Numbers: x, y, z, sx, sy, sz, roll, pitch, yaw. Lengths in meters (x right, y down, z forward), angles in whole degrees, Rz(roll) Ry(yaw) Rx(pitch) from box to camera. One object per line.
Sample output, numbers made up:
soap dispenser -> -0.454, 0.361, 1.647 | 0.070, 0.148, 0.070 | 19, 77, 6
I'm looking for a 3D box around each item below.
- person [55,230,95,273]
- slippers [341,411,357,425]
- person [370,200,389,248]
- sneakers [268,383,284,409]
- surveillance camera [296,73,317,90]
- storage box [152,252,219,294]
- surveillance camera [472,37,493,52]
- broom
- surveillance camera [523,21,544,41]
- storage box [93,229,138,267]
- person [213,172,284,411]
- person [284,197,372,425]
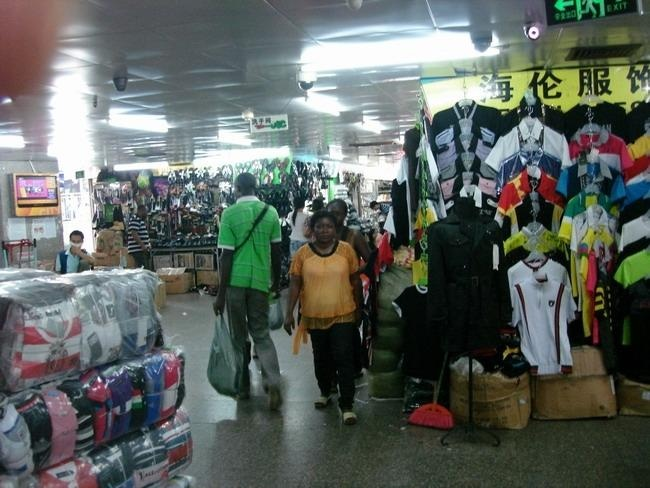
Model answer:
person -> -3.519, 0.113, 7.002 | 0.475, 0.583, 0.915 | -4, 5, -29
slippers -> 0.208, 1.472, 4.203 | 0.055, 0.068, 0.134 | -28, 2, -16
person -> 1.230, -0.588, 11.527 | 0.301, 1.124, 0.708 | 2, 7, 10
sneakers -> -0.457, 1.389, 4.555 | 0.130, 0.268, 0.254 | -2, 4, -7
surveillance camera -> -0.234, -2.109, 6.469 | 0.158, 0.180, 0.164 | -1, -2, 6
storage box -> -3.459, 0.625, 11.966 | 1.861, 0.936, 1.077 | 1, 5, 35
surveillance camera -> 1.544, -1.945, 4.873 | 0.179, 0.113, 0.242 | 0, 5, 21
broom -> 1.000, 1.286, 4.379 | 0.399, 0.085, 0.888 | -1, 32, 25
surveillance camera -> 1.951, -1.995, 4.670 | 0.174, 0.169, 0.235 | 0, 5, 29
storage box -> -4.386, 0.103, 10.482 | 0.632, 1.277, 0.669 | 6, 9, 44
person -> -0.712, 0.426, 4.694 | 0.619, 2.188, 0.706 | -2, 4, -6
person -> -0.003, 0.612, 4.378 | 0.614, 1.800, 0.380 | 0, 4, 21
